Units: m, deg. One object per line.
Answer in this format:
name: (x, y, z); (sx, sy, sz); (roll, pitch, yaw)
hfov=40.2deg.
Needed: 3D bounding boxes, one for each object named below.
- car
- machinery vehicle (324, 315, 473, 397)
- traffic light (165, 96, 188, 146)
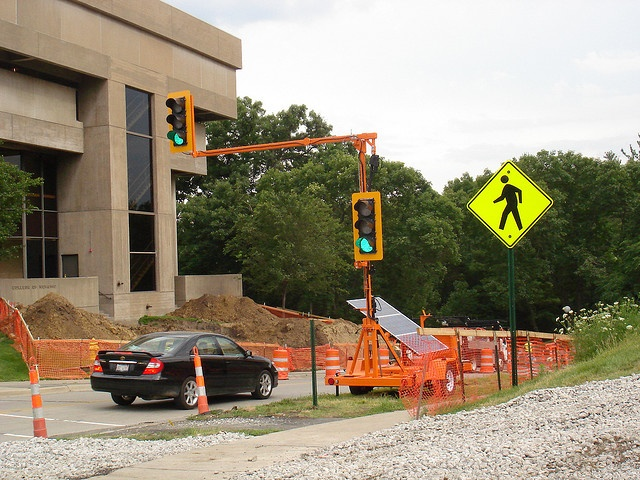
car: (-3.583, 3.458, 24.197); (2.024, 1.481, 4.507); (-3, -3, 40)
machinery vehicle: (2.149, 3.386, 25.576); (2.819, 2.306, 4.246); (-4, -5, 29)
traffic light: (-3.868, -3.178, 23.700); (0.548, 1.373, 0.510); (0, -9, -11)
